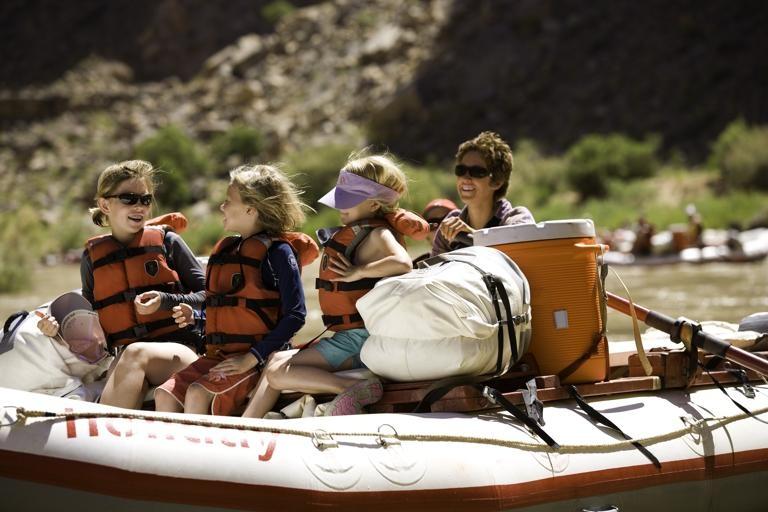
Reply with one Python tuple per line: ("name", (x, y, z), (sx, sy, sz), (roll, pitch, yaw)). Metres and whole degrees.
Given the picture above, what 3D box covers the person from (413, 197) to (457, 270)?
("person", (1.436, -0.422, 33.614), (1.246, 1.836, 0.979), (-10, 35, -16))
